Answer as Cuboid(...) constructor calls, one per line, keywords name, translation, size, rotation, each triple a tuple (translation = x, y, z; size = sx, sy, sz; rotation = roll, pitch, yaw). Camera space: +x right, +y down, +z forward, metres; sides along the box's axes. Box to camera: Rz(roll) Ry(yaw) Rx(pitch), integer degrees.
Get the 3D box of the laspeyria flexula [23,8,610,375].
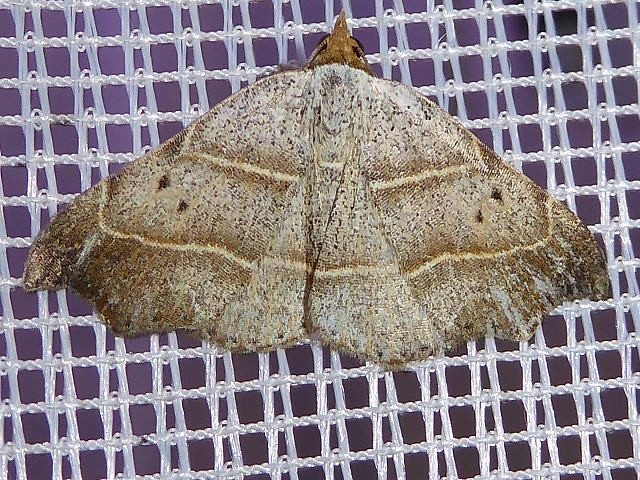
Cuboid(name="laspeyria flexula", translation=(0.003, -0.174, 4.737), size=(1.732, 0.156, 1.256), rotation=(5, -95, -2))
